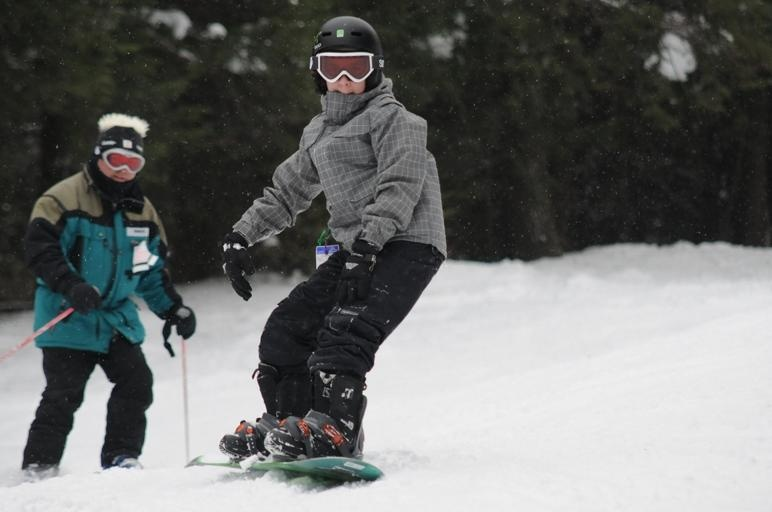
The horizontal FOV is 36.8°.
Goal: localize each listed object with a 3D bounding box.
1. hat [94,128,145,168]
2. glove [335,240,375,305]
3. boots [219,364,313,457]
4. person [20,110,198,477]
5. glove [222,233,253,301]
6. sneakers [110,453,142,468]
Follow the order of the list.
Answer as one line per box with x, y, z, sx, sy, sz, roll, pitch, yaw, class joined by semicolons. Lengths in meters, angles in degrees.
-2.534;-1.064;11.068;0.459;0.417;0.531;-1;5;-27;hat
-0.256;0.143;10.239;0.341;0.536;0.162;13;6;4;glove
-1.079;1.437;10.402;0.386;0.791;1.112;-18;-21;32;boots
-2.636;0.319;10.790;1.380;3.331;0.644;0;2;-15;person
-1.329;0.087;10.499;0.390;0.226;0.764;3;44;-3;glove
-2.385;1.899;10.658;0.268;0.100;0.199;0;3;-21;sneakers
